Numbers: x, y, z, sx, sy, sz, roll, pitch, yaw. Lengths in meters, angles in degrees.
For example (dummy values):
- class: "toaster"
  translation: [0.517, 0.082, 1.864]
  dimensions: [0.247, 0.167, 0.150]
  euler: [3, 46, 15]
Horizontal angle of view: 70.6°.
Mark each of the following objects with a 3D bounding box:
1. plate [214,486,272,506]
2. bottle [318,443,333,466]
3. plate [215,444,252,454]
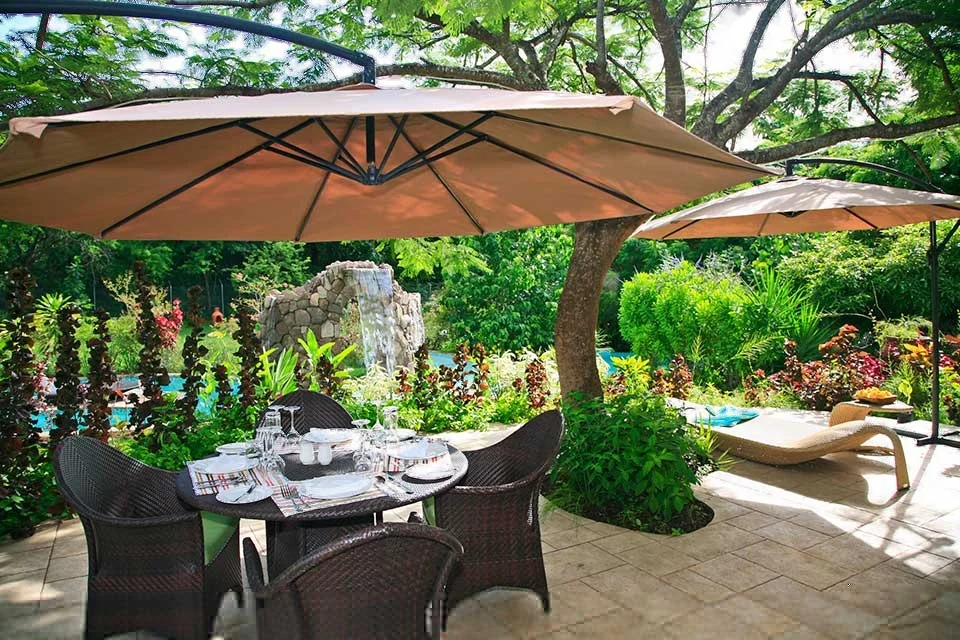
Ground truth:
- class: "plate"
  translation: [-1.565, 1.158, 4.494]
  dimensions: [0.307, 0.099, 0.216]
  euler: [-3, -6, 27]
- class: "bottle"
  translation: [-1.128, 0.980, 4.940]
  dimensions: [0.133, 0.142, 0.131]
  euler: [0, -6, -6]
- class: "plate"
  translation: [-1.835, 0.960, 5.072]
  dimensions: [0.159, 0.046, 0.111]
  euler: [-2, -4, -6]
